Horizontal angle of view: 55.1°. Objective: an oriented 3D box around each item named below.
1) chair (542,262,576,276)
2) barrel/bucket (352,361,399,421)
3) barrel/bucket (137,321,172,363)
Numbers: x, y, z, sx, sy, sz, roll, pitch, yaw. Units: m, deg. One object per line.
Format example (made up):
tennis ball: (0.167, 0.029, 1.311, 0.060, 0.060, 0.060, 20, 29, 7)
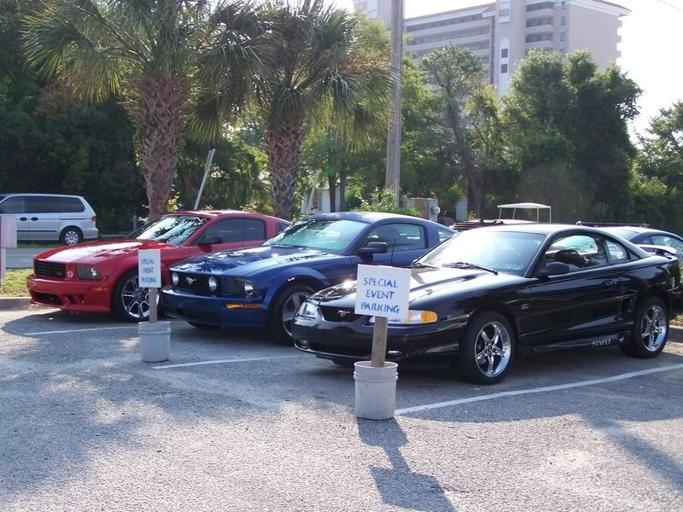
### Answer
chair: (2.421, 0.147, 7.430, 0.176, 0.096, 0.234, 5, -12, -34)
barrel/bucket: (0.316, 1.222, 5.988, 0.486, 0.461, 0.464, 1, -1, 0)
barrel/bucket: (-2.126, 0.993, 7.739, 0.471, 0.446, 0.459, 0, -1, 0)
